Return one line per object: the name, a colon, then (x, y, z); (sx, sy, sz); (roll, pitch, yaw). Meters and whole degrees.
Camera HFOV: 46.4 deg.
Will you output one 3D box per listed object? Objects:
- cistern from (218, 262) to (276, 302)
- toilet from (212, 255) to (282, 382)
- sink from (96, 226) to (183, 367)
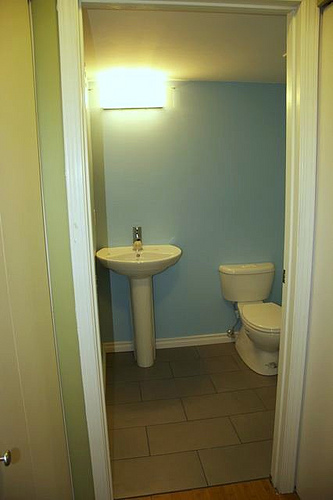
cistern: (0.636, 0.227, 2.945); (0.379, 0.275, 0.233); (-1, 17, 1)
toilet: (0.645, 0.466, 2.752); (0.385, 0.627, 0.586); (-4, 18, -10)
sink: (-0.165, 0.269, 2.622); (0.366, 0.669, 0.358); (4, 13, -9)
